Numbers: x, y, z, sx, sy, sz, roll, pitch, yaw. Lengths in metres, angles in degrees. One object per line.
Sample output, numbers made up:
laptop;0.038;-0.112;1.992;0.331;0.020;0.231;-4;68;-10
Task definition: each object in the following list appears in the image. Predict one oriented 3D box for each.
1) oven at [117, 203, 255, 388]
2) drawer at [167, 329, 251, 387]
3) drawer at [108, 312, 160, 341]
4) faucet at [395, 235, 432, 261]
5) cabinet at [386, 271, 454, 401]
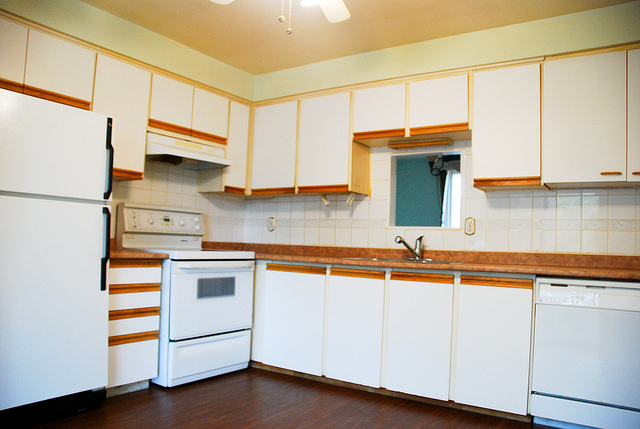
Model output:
oven;-1.120;0.617;4.467;1.037;1.597;1.202;3;0;39
drawer;-1.016;1.268;4.144;0.387;0.263;0.579;-5;-6;42
drawer;-1.547;0.911;3.836;0.304;0.196;0.126;6;1;-39
faucet;0.859;0.319;4.481;0.378;0.234;0.249;13;-14;-29
cabinet;0.891;0.973;3.999;0.596;0.948;0.459;2;2;23
